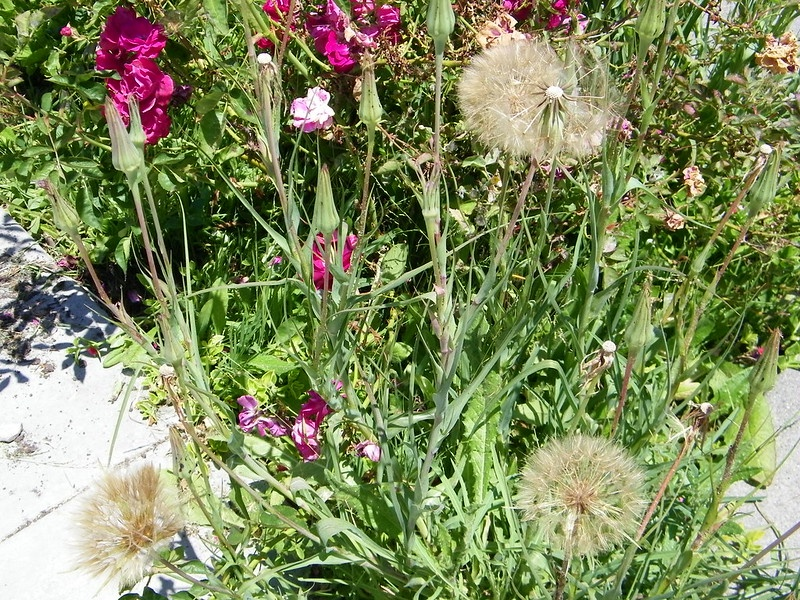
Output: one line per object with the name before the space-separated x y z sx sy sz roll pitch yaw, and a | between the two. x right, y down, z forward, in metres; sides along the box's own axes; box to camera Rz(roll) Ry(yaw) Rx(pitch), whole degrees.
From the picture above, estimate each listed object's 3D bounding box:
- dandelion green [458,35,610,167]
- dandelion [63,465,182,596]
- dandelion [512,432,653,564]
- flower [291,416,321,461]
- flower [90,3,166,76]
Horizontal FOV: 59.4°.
dandelion green | 0.330 -0.599 1.883 0.269 0.152 0.259 23 -8 40
dandelion | -0.605 0.512 1.671 0.233 0.160 0.284 -7 57 37
dandelion | 0.416 0.434 1.596 0.271 0.205 0.298 23 39 24
flower | -0.297 0.429 2.187 0.039 0.140 0.086 6 26 45
flower | -0.948 -0.911 2.455 0.276 0.191 0.209 -1 35 -9
